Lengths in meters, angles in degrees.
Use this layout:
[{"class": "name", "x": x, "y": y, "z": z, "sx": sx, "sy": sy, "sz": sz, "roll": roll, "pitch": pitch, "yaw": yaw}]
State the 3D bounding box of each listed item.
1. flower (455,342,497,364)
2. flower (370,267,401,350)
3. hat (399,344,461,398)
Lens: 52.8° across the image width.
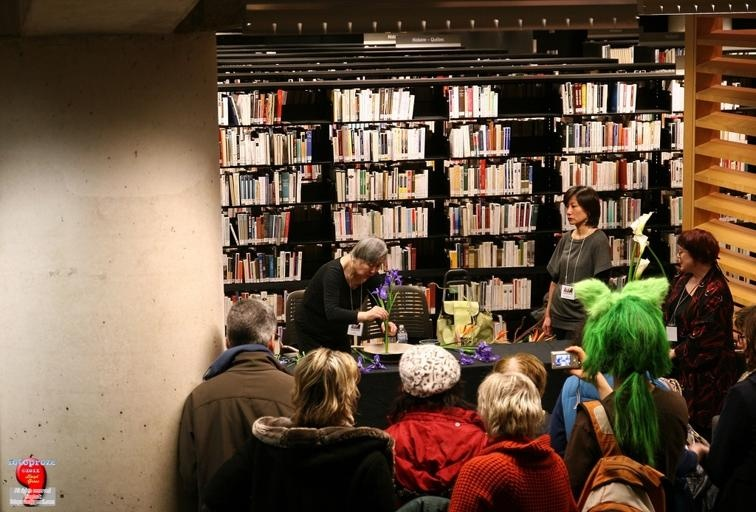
[{"class": "flower", "x": 0.769, "y": 0.746, "z": 5.886, "sx": 0.212, "sy": 0.078, "sz": 0.161, "roll": -3, "pitch": 4, "yaw": -26}, {"class": "flower", "x": 0.078, "y": 0.450, "z": 6.018, "sx": 0.250, "sy": 0.638, "sz": 0.223, "roll": 2, "pitch": 14, "yaw": -2}, {"class": "hat", "x": 0.282, "y": 0.576, "z": 3.923, "sx": 0.249, "sy": 0.189, "sz": 0.337, "roll": 3, "pitch": 5, "yaw": 3}]
